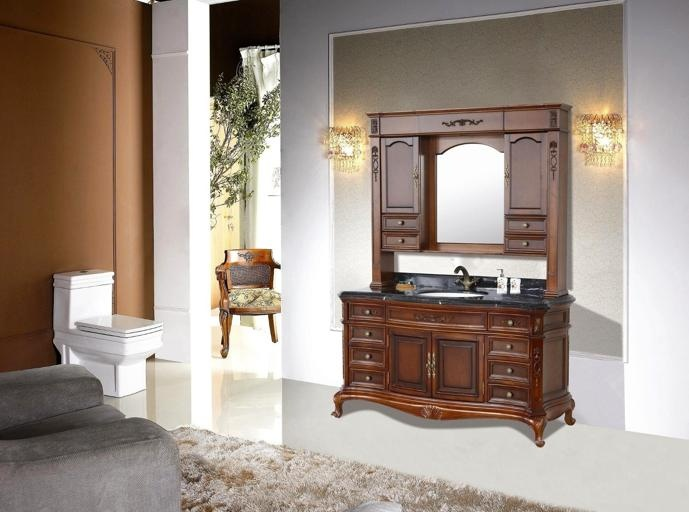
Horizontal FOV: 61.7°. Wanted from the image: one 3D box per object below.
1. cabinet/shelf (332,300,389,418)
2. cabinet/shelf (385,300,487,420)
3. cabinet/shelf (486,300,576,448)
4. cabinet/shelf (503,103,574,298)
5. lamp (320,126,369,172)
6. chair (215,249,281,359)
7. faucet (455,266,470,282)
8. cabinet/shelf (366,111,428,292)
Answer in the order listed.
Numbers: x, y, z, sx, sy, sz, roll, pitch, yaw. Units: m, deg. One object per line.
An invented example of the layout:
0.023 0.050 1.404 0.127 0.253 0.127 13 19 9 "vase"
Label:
0.231 0.769 4.451 0.553 0.860 0.504 -1 0 24 "cabinet/shelf"
0.605 0.736 4.175 0.770 0.665 0.335 6 -15 -10 "cabinet/shelf"
1.265 0.787 4.123 0.690 0.846 0.691 -1 0 -33 "cabinet/shelf"
1.357 -0.397 4.201 0.507 1.341 0.213 8 18 40 "cabinet/shelf"
0.031 -0.860 4.853 0.401 0.472 0.359 4 8 32 "lamp"
-1.025 0.482 6.168 0.659 1.064 0.718 -1 6 -9 "chair"
0.914 0.134 4.452 0.131 0.113 0.145 2 6 17 "faucet"
0.421 -0.414 4.505 0.408 1.277 0.176 0 7 11 "cabinet/shelf"
